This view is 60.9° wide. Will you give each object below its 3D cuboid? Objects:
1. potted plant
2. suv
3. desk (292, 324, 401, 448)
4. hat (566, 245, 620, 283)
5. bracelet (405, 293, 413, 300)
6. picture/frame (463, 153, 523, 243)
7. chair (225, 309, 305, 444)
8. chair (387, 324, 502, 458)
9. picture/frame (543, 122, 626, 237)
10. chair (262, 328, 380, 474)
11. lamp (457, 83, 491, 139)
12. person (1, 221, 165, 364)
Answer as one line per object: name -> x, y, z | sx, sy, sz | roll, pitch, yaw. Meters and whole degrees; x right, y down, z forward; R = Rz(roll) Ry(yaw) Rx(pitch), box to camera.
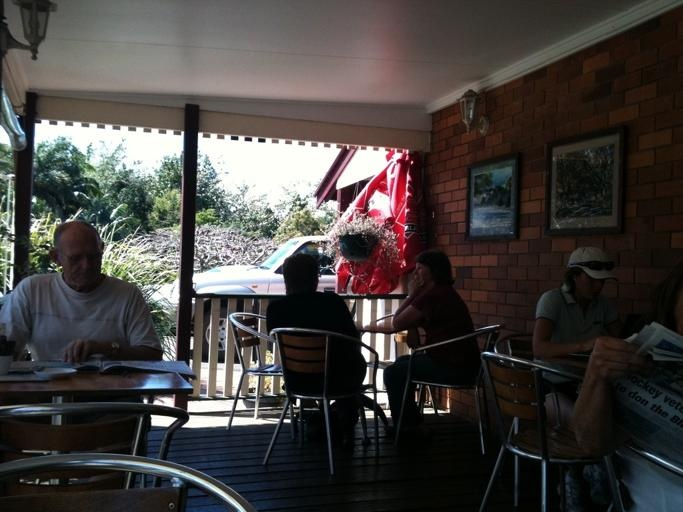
potted plant -> 0.284, 0.001, 6.258 | 0.799, 0.912, 0.362 | 5, 16, 24
suv -> -1.232, 0.468, 8.370 | 2.359, 1.480, 1.473 | 3, -7, -12
desk -> 0.089, 0.821, 4.085 | 0.540, 0.771, 0.575 | -11, 15, 3
hat -> 1.637, 0.047, 3.785 | 0.239, 0.194, 0.363 | 5, 6, -16
bracelet -> 0.575, 0.355, 5.017 | 0.046, 0.081, 0.079 | 3, 3, 45
picture/frame -> 1.389, -0.521, 5.264 | 0.042, 0.918, 0.824 | 1, -1, -21
chair -> -0.620, 0.951, 4.866 | 0.591, 0.890, 0.660 | -2, -6, 17
chair -> 0.848, 1.011, 4.698 | 0.772, 1.132, 0.772 | 5, 8, 21
picture/frame -> 1.838, -0.567, 4.343 | 0.068, 1.061, 0.859 | 3, -3, -25
chair -> -0.134, 0.972, 4.133 | 0.745, 0.975, 0.795 | 1, 1, 8
lamp -> 1.258, -1.364, 5.558 | 0.261, 0.446, 0.217 | -4, 7, -16
person -> -1.408, 0.194, 3.110 | 0.833, 0.769, 0.472 | 0, -1, -19
